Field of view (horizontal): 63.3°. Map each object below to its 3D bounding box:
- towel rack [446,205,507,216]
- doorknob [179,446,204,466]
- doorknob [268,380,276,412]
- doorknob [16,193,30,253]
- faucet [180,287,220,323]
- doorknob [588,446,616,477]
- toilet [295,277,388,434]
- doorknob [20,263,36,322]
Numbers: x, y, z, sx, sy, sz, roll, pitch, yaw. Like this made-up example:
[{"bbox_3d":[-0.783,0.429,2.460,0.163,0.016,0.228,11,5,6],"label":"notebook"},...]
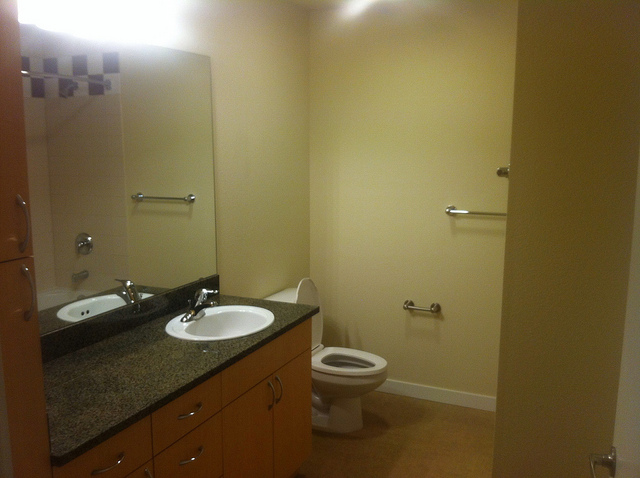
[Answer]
[{"bbox_3d":[0.898,-0.146,3.010,0.329,0.069,0.043,10,12,17],"label":"towel rack"},{"bbox_3d":[-0.422,0.702,1.688,0.080,0.024,0.084,7,13,35],"label":"doorknob"},{"bbox_3d":[-0.198,0.631,2.123,0.017,0.129,0.060,9,12,20],"label":"doorknob"},{"bbox_3d":[-0.664,-0.037,1.159,0.024,0.127,0.019,-2,13,-32],"label":"doorknob"},{"bbox_3d":[-0.519,0.281,2.289,0.068,0.109,0.274,6,6,12],"label":"faucet"},{"bbox_3d":[0.444,0.347,0.811,0.015,0.043,0.053,7,-15,-15],"label":"doorknob"},{"bbox_3d":[0.092,0.646,2.966,0.596,0.821,0.428,3,3,26],"label":"toilet"},{"bbox_3d":[-0.658,0.119,1.169,0.027,0.128,0.028,-5,14,-41],"label":"doorknob"}]
